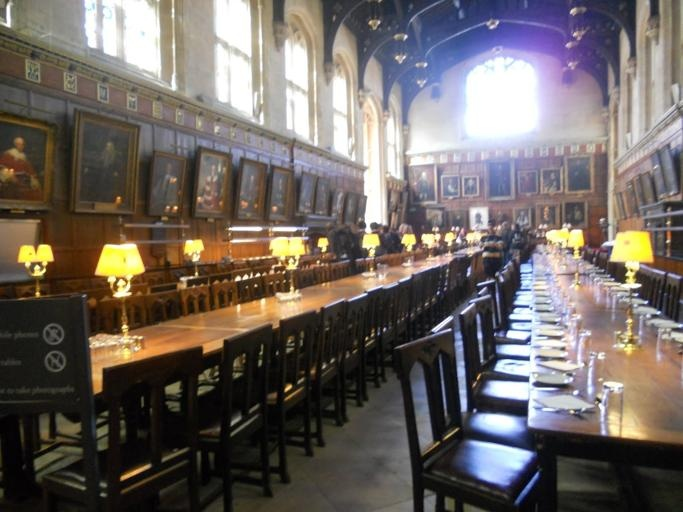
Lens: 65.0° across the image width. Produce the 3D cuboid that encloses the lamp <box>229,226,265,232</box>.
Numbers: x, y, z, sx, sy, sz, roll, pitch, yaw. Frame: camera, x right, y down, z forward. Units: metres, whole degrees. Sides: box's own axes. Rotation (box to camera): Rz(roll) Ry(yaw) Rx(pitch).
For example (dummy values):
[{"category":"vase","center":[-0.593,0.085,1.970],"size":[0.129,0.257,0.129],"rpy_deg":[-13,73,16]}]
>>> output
[{"category":"lamp","center":[-2.163,-0.627,12.156],"size":[0.035,0.094,1.412],"rpy_deg":[-2,1,23]}]

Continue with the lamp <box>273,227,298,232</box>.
[{"category":"lamp","center":[-1.438,-0.691,13.637],"size":[0.035,0.136,0.863],"rpy_deg":[6,1,32]}]
